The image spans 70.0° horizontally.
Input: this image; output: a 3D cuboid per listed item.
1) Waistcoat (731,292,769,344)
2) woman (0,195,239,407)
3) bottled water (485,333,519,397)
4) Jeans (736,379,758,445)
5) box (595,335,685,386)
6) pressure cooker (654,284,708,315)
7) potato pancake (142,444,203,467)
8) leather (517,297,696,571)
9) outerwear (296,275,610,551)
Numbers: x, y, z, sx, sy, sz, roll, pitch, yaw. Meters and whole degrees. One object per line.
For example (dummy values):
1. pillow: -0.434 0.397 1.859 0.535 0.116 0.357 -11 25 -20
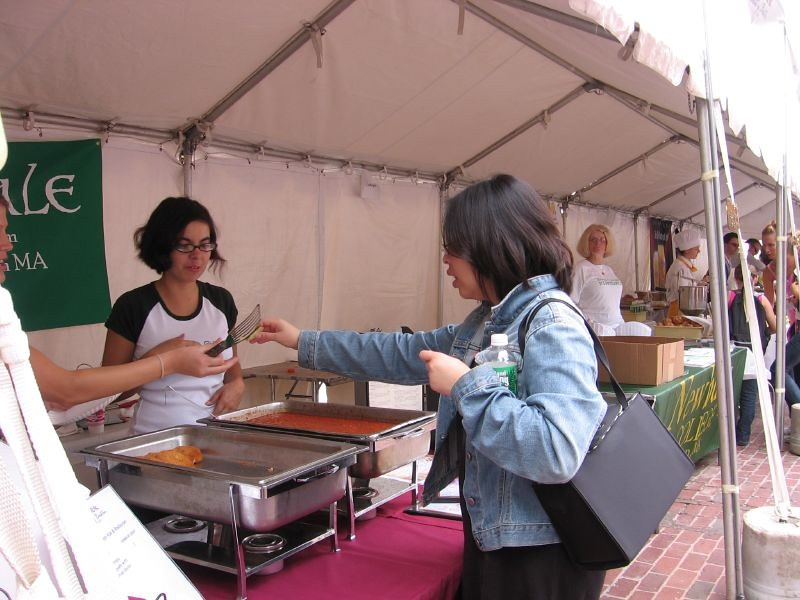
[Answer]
1. Waistcoat: 3.476 0.077 5.748 0.335 0.649 0.458 0 -12 22
2. woman: -0.973 0.151 2.036 0.641 0.461 0.882 3 -28 -22
3. bottled water: 0.279 0.192 1.526 0.076 0.198 0.076 -5 6 -12
4. Jeans: 3.322 1.050 5.467 0.165 0.596 0.156 11 0 19
5. box: 1.614 0.399 3.833 0.505 0.254 0.508 1 4 43
6. pressure cooker: 3.689 -0.003 7.175 0.327 0.386 0.440 0 0 -9
7. potato pancake: -0.745 0.526 1.903 0.151 0.032 0.093 12 20 -38
8. leather: 0.539 0.341 1.654 0.481 0.687 0.231 -11 -13 -39
9. outerwear: 0.110 0.245 1.627 0.650 0.622 0.894 -1 10 -6
